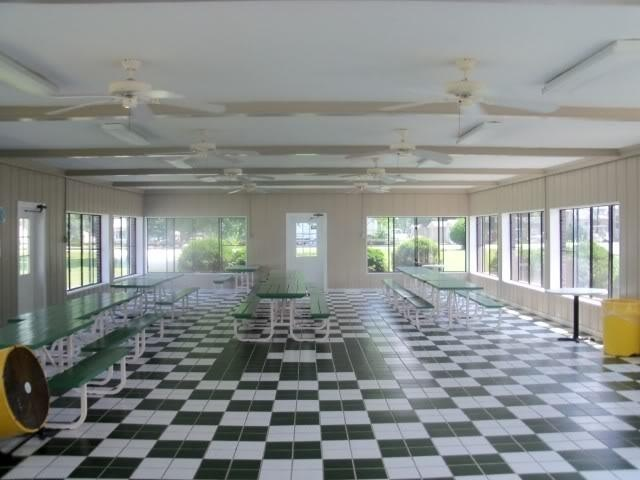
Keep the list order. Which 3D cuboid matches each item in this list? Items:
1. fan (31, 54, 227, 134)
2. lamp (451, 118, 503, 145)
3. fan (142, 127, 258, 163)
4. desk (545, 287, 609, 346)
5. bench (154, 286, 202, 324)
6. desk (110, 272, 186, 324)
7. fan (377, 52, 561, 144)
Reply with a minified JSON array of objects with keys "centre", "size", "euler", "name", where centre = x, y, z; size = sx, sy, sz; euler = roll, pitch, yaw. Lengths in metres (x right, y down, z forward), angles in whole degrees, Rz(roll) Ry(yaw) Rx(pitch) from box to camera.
[{"centre":[-1.507,-1.190,3.863],"size":[1.064,0.247,0.943],"euler":[0,-1,-1],"name":"fan"},{"centre":[1.860,-1.344,5.505],"size":[0.443,0.363,0.261],"euler":[12,46,18],"name":"lamp"},{"centre":[-1.545,-1.164,5.892],"size":[0.936,0.192,0.797],"euler":[0,0,-3],"name":"fan"},{"centre":[4.133,1.161,7.435],"size":[0.768,0.896,1.046],"euler":[3,7,28],"name":"desk"},{"centre":[-2.920,1.259,9.503],"size":[0.787,0.598,2.966],"euler":[-2,6,-15],"name":"bench"},{"centre":[-4.199,1.531,10.657],"size":[2.227,0.440,0.797],"euler":[-18,0,41],"name":"desk"},{"centre":[1.444,-1.266,4.292],"size":[1.056,0.284,0.852],"euler":[0,-4,3],"name":"fan"}]
